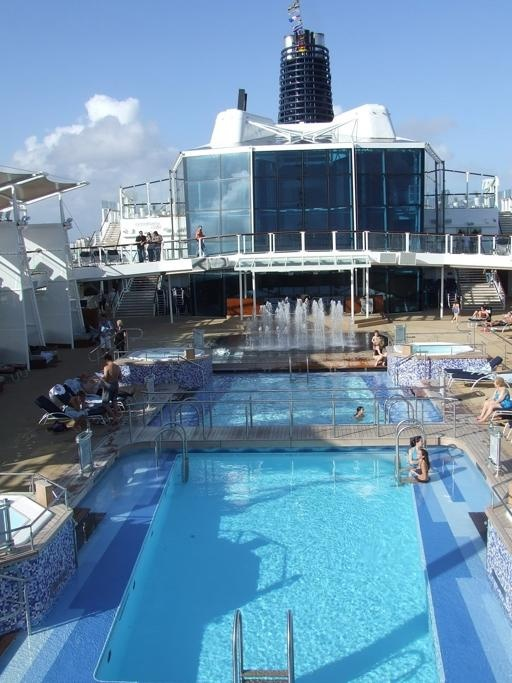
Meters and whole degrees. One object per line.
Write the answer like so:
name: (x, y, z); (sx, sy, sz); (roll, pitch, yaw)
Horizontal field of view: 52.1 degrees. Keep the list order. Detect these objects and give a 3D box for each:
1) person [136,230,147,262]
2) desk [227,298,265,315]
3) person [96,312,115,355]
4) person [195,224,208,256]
person: (-4.817, -3.970, 22.190); (0.442, 1.223, 1.430); (-3, 8, -11)
desk: (-0.793, -1.714, 26.156); (1.587, 1.055, 0.878); (0, -1, 0)
person: (-4.606, -0.278, 16.152); (0.420, 1.236, 0.729); (-3, 8, -15)
person: (-2.433, -4.426, 23.126); (0.418, 1.327, 1.303); (-2, 8, -5)
